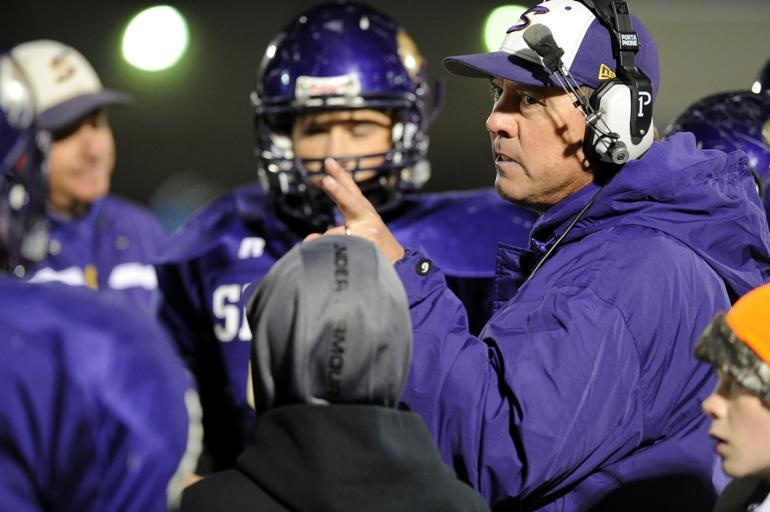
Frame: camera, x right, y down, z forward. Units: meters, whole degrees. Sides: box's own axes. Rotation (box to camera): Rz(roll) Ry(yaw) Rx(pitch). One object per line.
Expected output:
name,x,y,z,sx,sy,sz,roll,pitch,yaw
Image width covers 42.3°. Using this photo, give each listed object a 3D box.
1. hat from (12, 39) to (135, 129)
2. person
hat,-0.868,-0.474,2.728,0.256,0.165,0.342,-26,21,-37
person,0.159,0.061,1.727,0.589,0.915,1.093,13,23,41
